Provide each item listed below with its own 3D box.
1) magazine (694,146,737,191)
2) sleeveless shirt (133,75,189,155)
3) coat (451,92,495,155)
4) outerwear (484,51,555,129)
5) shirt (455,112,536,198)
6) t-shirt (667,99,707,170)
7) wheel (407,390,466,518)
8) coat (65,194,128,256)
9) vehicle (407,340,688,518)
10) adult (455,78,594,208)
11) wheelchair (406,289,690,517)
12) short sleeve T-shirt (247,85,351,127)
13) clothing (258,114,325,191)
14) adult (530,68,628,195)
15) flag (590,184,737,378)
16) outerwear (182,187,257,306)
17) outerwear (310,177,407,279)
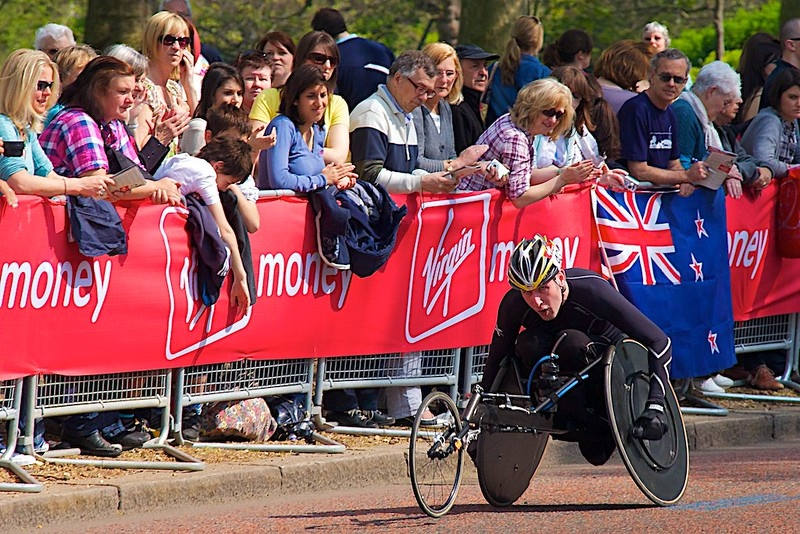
[{"bbox_3d":[2.988,-0.911,14.341,0.366,0.363,0.084,-5,38,-21],"label":"magazine"},{"bbox_3d":[-2.150,-1.332,13.406,0.377,0.664,0.700,9,12,15],"label":"sleeveless shirt"},{"bbox_3d":[0.662,-1.349,14.280,0.256,0.800,0.623,-1,8,29],"label":"coat"},{"bbox_3d":[1.122,-1.674,14.414,0.444,0.803,0.805,14,1,-15],"label":"outerwear"},{"bbox_3d":[0.876,-0.940,13.537,0.598,0.805,0.231,26,12,40],"label":"shirt"},{"bbox_3d":[2.760,-1.268,14.670,0.285,0.516,0.557,-7,18,18],"label":"t-shirt"},{"bbox_3d":[0.294,1.405,11.992,0.427,0.971,1.212,4,13,2],"label":"wheel"},{"bbox_3d":[-2.382,-0.316,11.799,0.369,0.474,0.154,-3,-4,-37],"label":"coat"},{"bbox_3d":[1.139,1.242,11.848,1.248,1.106,2.031,-3,-7,40],"label":"vehicle"},{"bbox_3d":[1.111,-1.177,13.849,1.307,1.036,0.947,8,17,20],"label":"adult"},{"bbox_3d":[1.129,1.203,11.862,1.265,1.133,2.055,-3,-7,38],"label":"wheelchair"},{"bbox_3d":[-0.911,-1.410,13.276,0.442,0.357,0.210,8,-2,3],"label":"short sleeve T-shirt"},{"bbox_3d":[-0.889,-0.967,13.085,0.609,0.631,0.676,1,-1,34],"label":"clothing"},{"bbox_3d":[1.648,-1.251,14.193,0.745,1.137,0.822,-3,17,26],"label":"adult"},{"bbox_3d":[2.338,0.092,13.766,1.716,1.718,0.141,-7,3,-30],"label":"flag"},{"bbox_3d":[-1.488,-0.157,12.289,0.648,0.848,0.266,4,-9,-45],"label":"outerwear"},{"bbox_3d":[-0.376,-0.329,12.926,0.683,0.853,0.359,-15,1,-37],"label":"outerwear"}]
